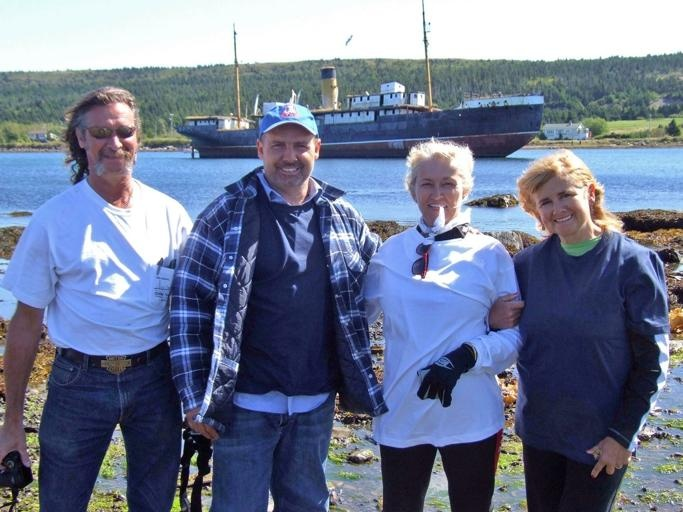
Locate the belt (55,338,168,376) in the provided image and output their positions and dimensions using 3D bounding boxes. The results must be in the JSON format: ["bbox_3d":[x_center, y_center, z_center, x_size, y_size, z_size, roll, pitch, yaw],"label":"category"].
[{"bbox_3d":[-1.391,0.619,4.887,0.657,0.164,0.154,-5,11,-12],"label":"belt"}]

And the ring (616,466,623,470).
[{"bbox_3d":[1.634,1.235,4.666,0.030,0.007,0.031,0,3,0],"label":"ring"}]

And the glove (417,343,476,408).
[{"bbox_3d":[0.618,0.686,4.813,0.287,0.157,0.452,13,15,16],"label":"glove"}]

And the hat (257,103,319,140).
[{"bbox_3d":[-0.326,-0.863,5.097,0.368,0.216,0.451,0,3,-14],"label":"hat"}]
